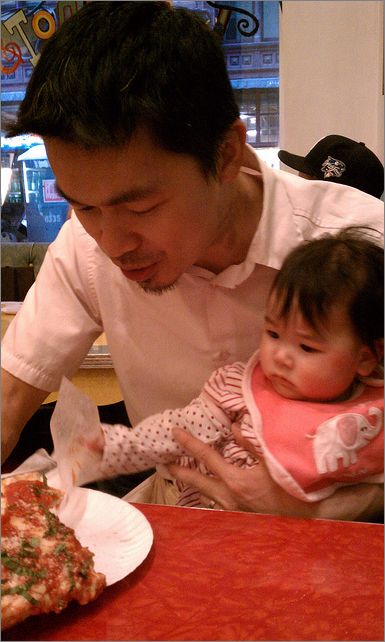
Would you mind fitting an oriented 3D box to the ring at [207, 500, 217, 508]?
[{"bbox_3d":[0.039,0.373,1.024,0.012,0.015,0.016,41,14,0],"label":"ring"}]
